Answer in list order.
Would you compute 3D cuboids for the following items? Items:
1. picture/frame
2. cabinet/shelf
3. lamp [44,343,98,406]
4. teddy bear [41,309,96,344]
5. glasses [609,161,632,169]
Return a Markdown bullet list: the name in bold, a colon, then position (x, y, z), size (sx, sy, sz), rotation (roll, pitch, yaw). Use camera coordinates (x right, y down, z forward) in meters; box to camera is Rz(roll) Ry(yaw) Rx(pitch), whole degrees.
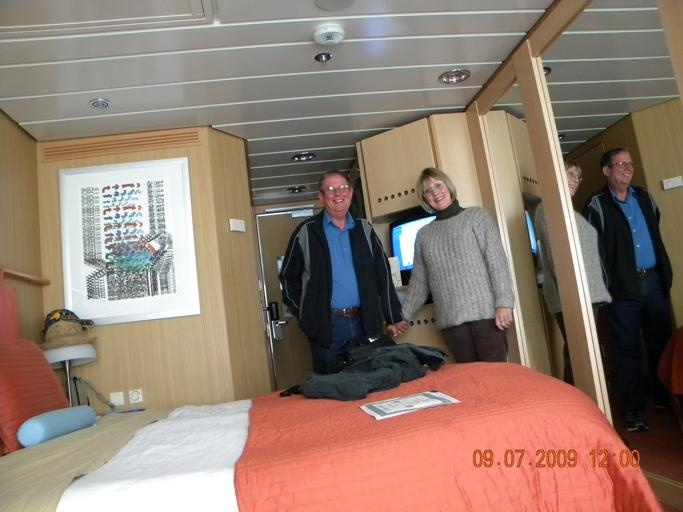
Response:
- **picture/frame**: position (-1.591, -0.044, 3.613), size (1.365, 1.372, 0.063), rotation (-6, -5, -1)
- **cabinet/shelf**: position (0.621, -0.695, 3.793), size (0.893, 0.670, 0.480), rotation (-18, -9, 38)
- **lamp**: position (-1.747, 0.812, 3.354), size (0.338, 0.440, 0.333), rotation (7, -4, -14)
- **teddy bear**: position (-1.892, 0.471, 3.331), size (0.378, 0.216, 0.368), rotation (4, -10, -39)
- **glasses**: position (1.371, -0.453, 2.426), size (0.074, 0.020, 0.070), rotation (0, 1, 1)
